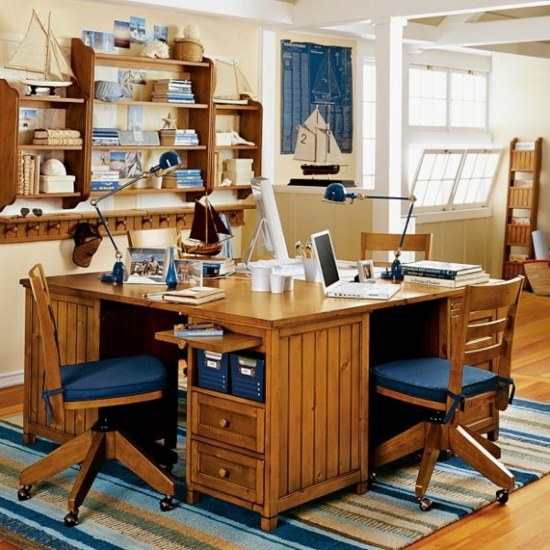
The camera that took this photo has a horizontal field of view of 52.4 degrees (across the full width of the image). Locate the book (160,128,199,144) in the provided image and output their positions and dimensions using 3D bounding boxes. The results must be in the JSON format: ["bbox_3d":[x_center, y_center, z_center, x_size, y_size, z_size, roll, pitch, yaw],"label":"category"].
[{"bbox_3d":[-0.766,-1.111,4.495,0.229,0.094,0.166,-2,8,-23],"label":"book"}]

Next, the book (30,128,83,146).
[{"bbox_3d":[-1.431,-0.908,3.707,0.207,0.064,0.161,-7,13,-44],"label":"book"}]

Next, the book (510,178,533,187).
[{"bbox_3d":[3.319,-1.239,7.500,0.291,0.097,0.209,9,15,36],"label":"book"}]

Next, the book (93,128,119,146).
[{"bbox_3d":[-1.228,-0.996,4.044,0.219,0.089,0.142,1,8,2],"label":"book"}]

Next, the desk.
[{"bbox_3d":[0.206,0.445,2.125,1.348,0.554,1.348,2,4,44],"label":"desk"}]

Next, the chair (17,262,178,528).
[{"bbox_3d":[-0.655,0.401,2.526,0.891,1.105,0.908,0,6,-11],"label":"chair"}]

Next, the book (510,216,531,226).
[{"bbox_3d":[3.285,-0.719,7.512,0.299,0.101,0.111,8,14,32],"label":"book"}]

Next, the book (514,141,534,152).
[{"bbox_3d":[3.311,-1.712,7.442,0.200,0.121,0.019,5,0,34],"label":"book"}]

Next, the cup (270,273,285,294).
[{"bbox_3d":[0.008,0.041,2.361,0.078,0.077,0.077,-1,1,0],"label":"cup"}]

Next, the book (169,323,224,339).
[{"bbox_3d":[-0.260,0.185,1.892,0.169,0.029,0.148,1,12,0],"label":"book"}]

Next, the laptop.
[{"bbox_3d":[0.349,-0.048,2.420,0.346,0.242,0.400,4,7,21],"label":"laptop"}]

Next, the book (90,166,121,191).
[{"bbox_3d":[-1.233,-0.694,4.067,0.181,0.107,0.241,-6,10,-33],"label":"book"}]

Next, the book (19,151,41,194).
[{"bbox_3d":[-1.587,-0.658,3.594,0.083,0.265,0.170,7,14,27],"label":"book"}]

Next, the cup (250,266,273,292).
[{"bbox_3d":[-0.061,0.019,2.429,0.112,0.086,0.087,1,2,35],"label":"cup"}]

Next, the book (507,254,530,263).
[{"bbox_3d":[3.244,-0.212,7.470,0.231,0.093,0.203,5,13,20],"label":"book"}]
